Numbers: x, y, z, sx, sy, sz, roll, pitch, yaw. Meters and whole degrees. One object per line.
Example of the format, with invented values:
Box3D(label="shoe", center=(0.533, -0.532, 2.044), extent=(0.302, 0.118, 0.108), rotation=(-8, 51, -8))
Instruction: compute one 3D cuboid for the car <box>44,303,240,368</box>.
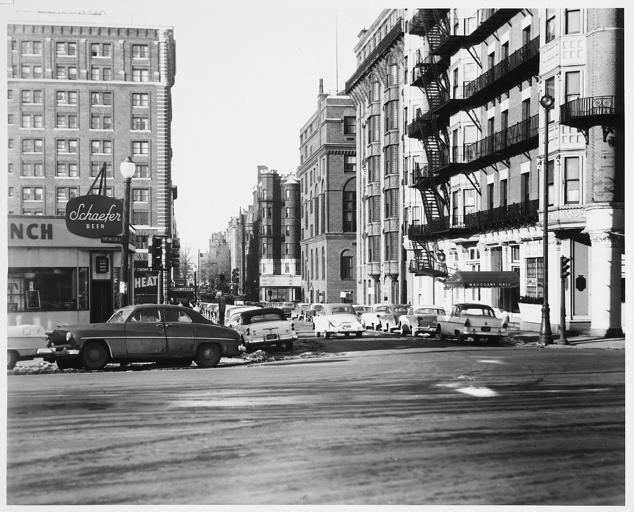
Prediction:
Box3D(label="car", center=(-5.446, 2.792, 31.134), extent=(4.558, 1.708, 2.288), rotation=(4, -9, -19))

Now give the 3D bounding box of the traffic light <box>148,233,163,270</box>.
Box3D(label="traffic light", center=(-5.935, -0.095, 37.378), extent=(0.488, 1.307, 1.849), rotation=(0, 4, -11))
